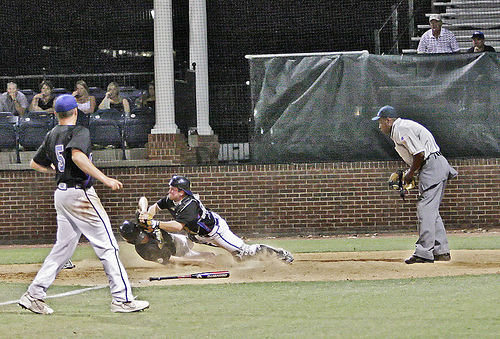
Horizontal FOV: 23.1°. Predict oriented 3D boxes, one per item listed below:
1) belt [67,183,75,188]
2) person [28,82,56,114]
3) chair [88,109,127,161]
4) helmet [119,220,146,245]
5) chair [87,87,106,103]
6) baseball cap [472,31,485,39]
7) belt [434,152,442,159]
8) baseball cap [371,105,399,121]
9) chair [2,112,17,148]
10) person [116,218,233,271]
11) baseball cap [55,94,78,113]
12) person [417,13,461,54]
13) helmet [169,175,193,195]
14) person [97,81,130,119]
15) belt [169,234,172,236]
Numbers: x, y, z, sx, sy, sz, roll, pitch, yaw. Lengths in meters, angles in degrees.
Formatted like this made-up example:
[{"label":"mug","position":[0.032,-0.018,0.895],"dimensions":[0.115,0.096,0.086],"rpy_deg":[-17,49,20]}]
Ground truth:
[{"label":"belt","position":[-3.245,0.275,22.283],"dimensions":[0.099,0.076,0.021],"rpy_deg":[0,-4,-5]},{"label":"person","position":[-4.914,-1.700,29.362],"dimensions":[0.716,0.770,1.654],"rpy_deg":[-3,3,-5]},{"label":"chair","position":[-3.373,-0.861,29.108],"dimensions":[1.281,1.288,1.212],"rpy_deg":[-1,6,0]},{"label":"helmet","position":[-2.349,1.308,24.697],"dimensions":[0.454,0.447,0.586],"rpy_deg":[-2,-7,36]},{"label":"chair","position":[-3.716,-1.804,29.647],"dimensions":[0.549,0.331,0.335],"rpy_deg":[3,-34,-5]},{"label":"baseball cap","position":[5.316,-3.121,28.510],"dimensions":[0.251,0.102,0.160],"rpy_deg":[6,7,0]},{"label":"belt","position":[3.753,-0.294,24.560],"dimensions":[0.137,0.112,0.029],"rpy_deg":[0,-19,-7]},{"label":"baseball cap","position":[2.733,-1.147,24.773],"dimensions":[0.431,0.183,0.266],"rpy_deg":[1,8,13]},{"label":"chair","position":[-5.720,-0.950,29.270],"dimensions":[0.434,0.811,0.343],"rpy_deg":[-1,7,9]},{"label":"person","position":[-1.442,1.561,25.111],"dimensions":[2.280,0.904,1.178],"rpy_deg":[13,-30,-29]},{"label":"baseball cap","position":[-3.373,-1.212,22.520],"dimensions":[0.389,0.314,0.220],"rpy_deg":[-2,7,-8]},{"label":"person","position":[4.419,-2.993,29.064],"dimensions":[1.143,1.188,0.702],"rpy_deg":[-5,5,-5]},{"label":"helmet","position":[-1.347,0.308,24.616],"dimensions":[0.457,0.209,0.301],"rpy_deg":[25,10,-1]},{"label":"person","position":[-3.234,-1.550,29.408],"dimensions":[0.731,1.018,0.712],"rpy_deg":[-3,0,-27]},{"label":"belt","position":[-1.602,1.303,24.855],"dimensions":[0.038,0.036,0.088],"rpy_deg":[0,6,12]}]
